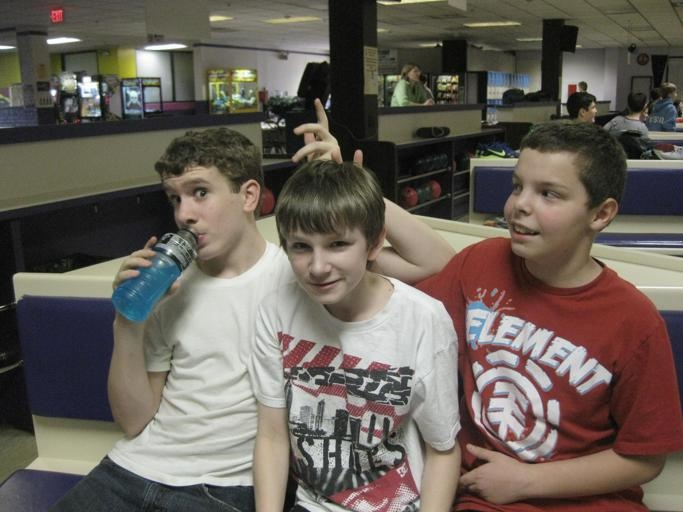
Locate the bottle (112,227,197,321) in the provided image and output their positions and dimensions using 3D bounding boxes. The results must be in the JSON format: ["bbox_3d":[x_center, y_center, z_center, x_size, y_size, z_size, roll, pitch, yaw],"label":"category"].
[{"bbox_3d":[-0.473,0.052,1.422,0.217,0.223,0.081,-6,11,-17],"label":"bottle"}]

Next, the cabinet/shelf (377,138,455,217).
[{"bbox_3d":[0.867,-0.888,6.959,0.381,1.179,1.215,13,21,36],"label":"cabinet/shelf"}]

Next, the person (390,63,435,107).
[{"bbox_3d":[1.126,-2.706,8.999,0.756,0.859,0.624,6,10,37],"label":"person"}]
